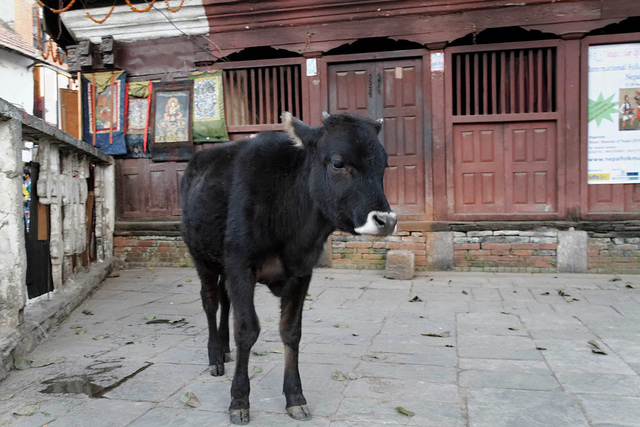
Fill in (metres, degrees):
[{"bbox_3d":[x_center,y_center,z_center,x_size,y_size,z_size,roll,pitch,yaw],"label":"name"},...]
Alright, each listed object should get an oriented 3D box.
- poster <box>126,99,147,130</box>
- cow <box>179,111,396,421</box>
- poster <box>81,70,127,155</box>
[{"bbox_3d":[-3.715,-2.015,11.297,0.438,0.616,0.088,-2,5,13],"label":"poster"},{"bbox_3d":[-0.393,0.492,6.002,2.452,3.109,1.125,-2,5,13],"label":"cow"},{"bbox_3d":[-4.358,-2.040,11.347,0.975,1.693,0.251,-2,5,13],"label":"poster"}]
